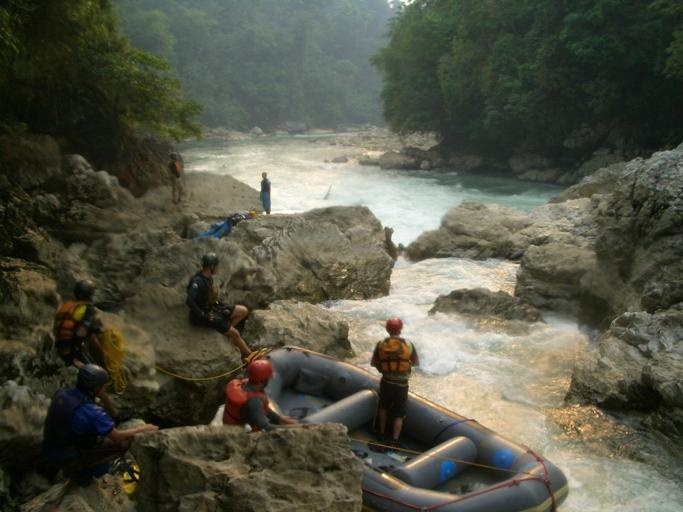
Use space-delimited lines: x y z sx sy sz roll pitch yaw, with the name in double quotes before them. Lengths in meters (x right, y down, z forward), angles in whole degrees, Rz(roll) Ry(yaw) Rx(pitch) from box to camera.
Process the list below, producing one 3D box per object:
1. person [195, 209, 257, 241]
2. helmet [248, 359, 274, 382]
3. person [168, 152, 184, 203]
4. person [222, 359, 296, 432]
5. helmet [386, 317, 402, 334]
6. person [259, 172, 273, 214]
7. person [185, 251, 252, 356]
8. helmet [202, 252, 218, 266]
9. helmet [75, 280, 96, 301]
"person" -3.155 -0.798 16.085 0.532 0.561 1.805 28 36 30
"helmet" -1.136 1.600 8.401 0.286 0.267 0.320 -20 19 12
"person" -5.463 -2.735 19.511 0.424 1.451 0.349 13 38 6
"person" -1.182 2.099 8.888 0.797 1.267 0.608 -5 33 -28
"helmet" 0.850 1.127 9.637 0.221 0.253 0.294 1 2 6
"person" -2.651 -2.128 20.683 0.291 1.468 0.587 -3 22 -14
"person" -2.296 0.897 10.928 1.102 1.993 0.735 -1 21 -10
"helmet" -2.351 0.100 10.580 0.196 0.250 0.256 10 -7 16
"helmet" -3.970 0.520 9.248 0.272 0.342 0.320 5 27 -11
